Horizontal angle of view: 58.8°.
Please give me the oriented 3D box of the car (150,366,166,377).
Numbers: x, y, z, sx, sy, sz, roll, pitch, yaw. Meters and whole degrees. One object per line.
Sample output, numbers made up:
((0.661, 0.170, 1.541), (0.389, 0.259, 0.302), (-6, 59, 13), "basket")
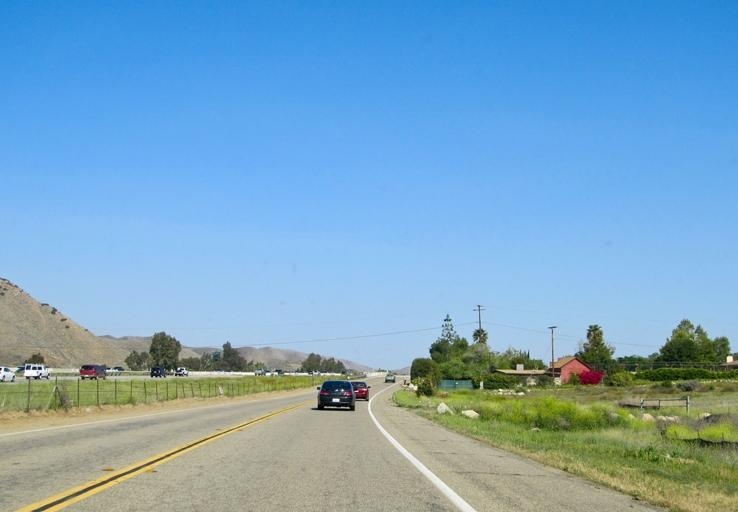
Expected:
((-37.638, 20.802, 117.779), (1.760, 2.092, 4.692), (2, -16, -10), "car")

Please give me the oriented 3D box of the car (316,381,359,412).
((-2.024, 8.743, 41.366), (2.207, 1.838, 1.428), (2, -14, -11), "car")

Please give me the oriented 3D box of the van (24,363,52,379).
((-43.001, 14.907, 85.347), (2.261, 2.212, 5.427), (-1, -16, 0), "van")
